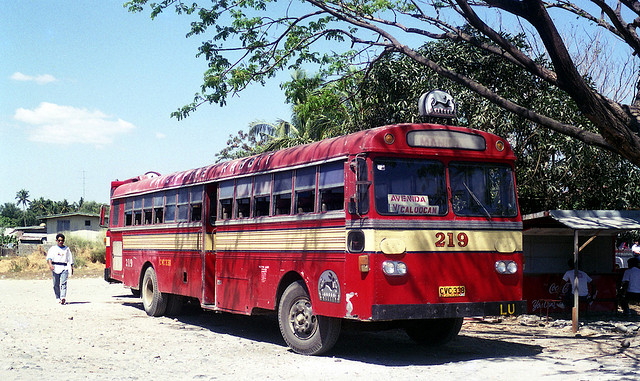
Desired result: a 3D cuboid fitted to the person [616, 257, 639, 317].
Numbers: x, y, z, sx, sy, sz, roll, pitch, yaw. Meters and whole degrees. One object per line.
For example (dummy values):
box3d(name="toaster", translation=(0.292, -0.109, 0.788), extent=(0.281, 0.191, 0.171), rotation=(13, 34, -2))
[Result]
box3d(name="person", translation=(11.186, 3.517, 18.645), extent=(0.680, 2.092, 0.955), rotation=(-5, -8, 19))

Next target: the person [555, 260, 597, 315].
box3d(name="person", translation=(8.594, 3.294, 17.366), extent=(0.843, 2.005, 1.161), rotation=(-9, 11, -19))
